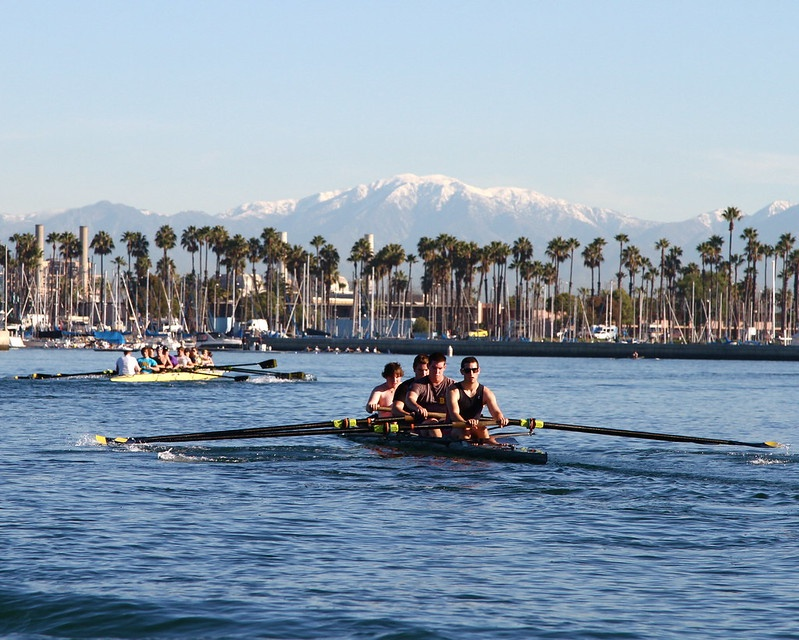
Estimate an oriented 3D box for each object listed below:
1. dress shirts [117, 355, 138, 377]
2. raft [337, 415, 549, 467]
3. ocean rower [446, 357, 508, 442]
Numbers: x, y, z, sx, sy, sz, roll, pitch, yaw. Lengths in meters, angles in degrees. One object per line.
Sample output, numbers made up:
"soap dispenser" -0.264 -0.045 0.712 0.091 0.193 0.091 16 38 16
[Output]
"dress shirts" -9.780 1.621 62.142 0.809 0.954 1.730 -1 9 -10
"raft" 0.638 2.739 36.166 5.116 0.609 1.552 8 16 35
"ocean rower" 1.486 1.844 35.112 1.113 1.552 0.724 0 9 -1
